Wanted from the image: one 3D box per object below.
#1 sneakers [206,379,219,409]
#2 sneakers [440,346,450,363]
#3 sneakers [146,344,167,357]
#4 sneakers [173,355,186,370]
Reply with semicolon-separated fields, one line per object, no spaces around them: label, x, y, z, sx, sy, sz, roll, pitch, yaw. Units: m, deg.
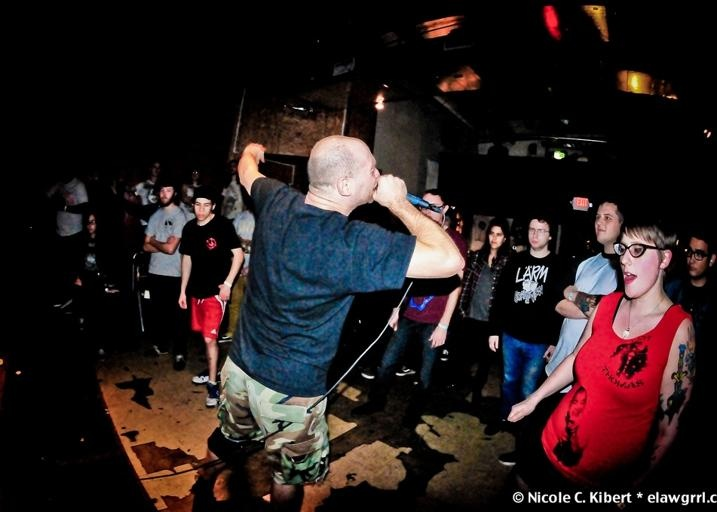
sneakers;-1.589;1.528;5.048;0.125;0.206;0.347;3;2;1
sneakers;1.257;1.430;6.675;0.151;0.176;0.197;8;-1;-1
sneakers;-2.652;1.260;6.047;0.231;0.114;0.141;19;-5;-29
sneakers;-2.218;1.337;5.733;0.086;0.096;0.248;11;17;-14
